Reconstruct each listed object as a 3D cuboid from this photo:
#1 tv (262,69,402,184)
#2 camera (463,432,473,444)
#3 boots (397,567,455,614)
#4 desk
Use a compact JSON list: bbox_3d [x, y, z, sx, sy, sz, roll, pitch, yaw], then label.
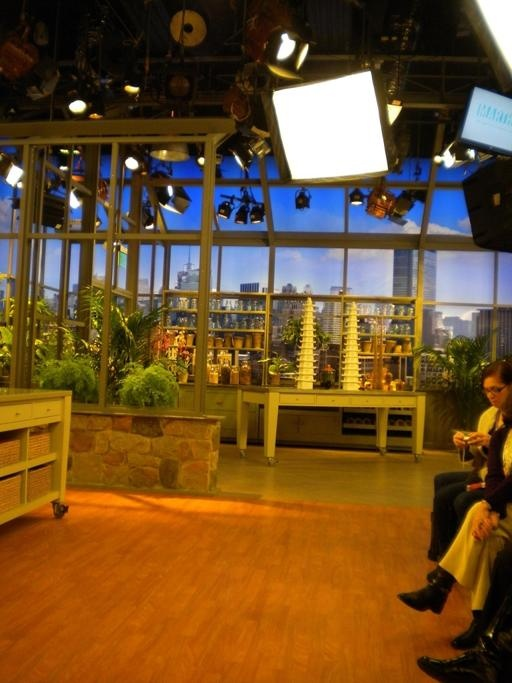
[{"bbox_3d":[0.301,-0.911,2.228,0.568,0.324,0.335,-2,-8,33],"label":"tv"},{"bbox_3d":[0.909,0.412,2.197,0.011,0.041,0.039,20,9,42],"label":"camera"},{"bbox_3d":[0.582,0.848,1.755,0.191,0.149,0.078,18,2,-11],"label":"boots"},{"bbox_3d":[0.903,1.121,7.045,2.424,0.920,1.805,5,-7,-23],"label":"desk"}]
